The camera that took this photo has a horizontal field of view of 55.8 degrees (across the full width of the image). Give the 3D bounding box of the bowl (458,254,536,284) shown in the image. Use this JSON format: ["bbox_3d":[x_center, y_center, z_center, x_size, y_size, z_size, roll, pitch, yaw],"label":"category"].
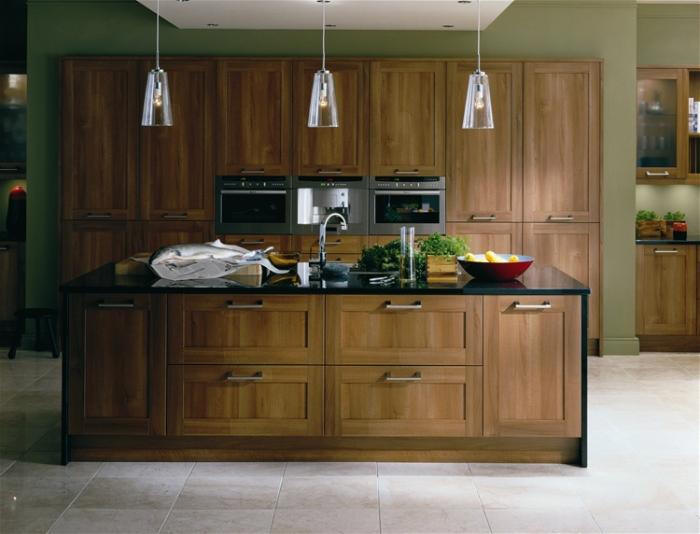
[{"bbox_3d":[0.921,-0.004,4.056,0.502,0.167,0.304,-4,10,-23],"label":"bowl"}]

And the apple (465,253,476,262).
[{"bbox_3d":[0.741,-0.058,4.042,0.065,0.049,0.048,1,-5,-3],"label":"apple"}]

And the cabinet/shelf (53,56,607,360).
[{"bbox_3d":[-0.181,-0.788,6.700,5.303,2.923,0.753,-3,30,-16],"label":"cabinet/shelf"}]

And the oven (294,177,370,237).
[{"bbox_3d":[-0.195,-0.531,6.161,0.684,0.530,0.241,-1,-6,-8],"label":"oven"}]

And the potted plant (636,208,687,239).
[{"bbox_3d":[3.216,-0.438,6.835,0.475,0.258,0.886,5,10,25],"label":"potted plant"}]

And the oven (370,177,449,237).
[{"bbox_3d":[0.480,-0.553,6.246,0.764,0.550,0.455,-2,3,-20],"label":"oven"}]

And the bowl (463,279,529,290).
[{"bbox_3d":[0.860,0.110,3.914,0.347,0.049,0.302,2,9,9],"label":"bowl"}]

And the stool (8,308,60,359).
[{"bbox_3d":[-2.934,0.596,6.236,0.506,0.488,0.490,0,-2,-14],"label":"stool"}]

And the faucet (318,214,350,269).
[{"bbox_3d":[-0.105,-0.138,4.293,0.203,0.390,0.066,-3,9,-18],"label":"faucet"}]

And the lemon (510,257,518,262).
[{"bbox_3d":[0.993,-0.045,4.010,0.037,0.034,0.036,0,4,-10],"label":"lemon"}]

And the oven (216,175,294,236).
[{"bbox_3d":[-0.916,-0.705,6.226,0.655,0.488,0.451,2,29,-5],"label":"oven"}]
